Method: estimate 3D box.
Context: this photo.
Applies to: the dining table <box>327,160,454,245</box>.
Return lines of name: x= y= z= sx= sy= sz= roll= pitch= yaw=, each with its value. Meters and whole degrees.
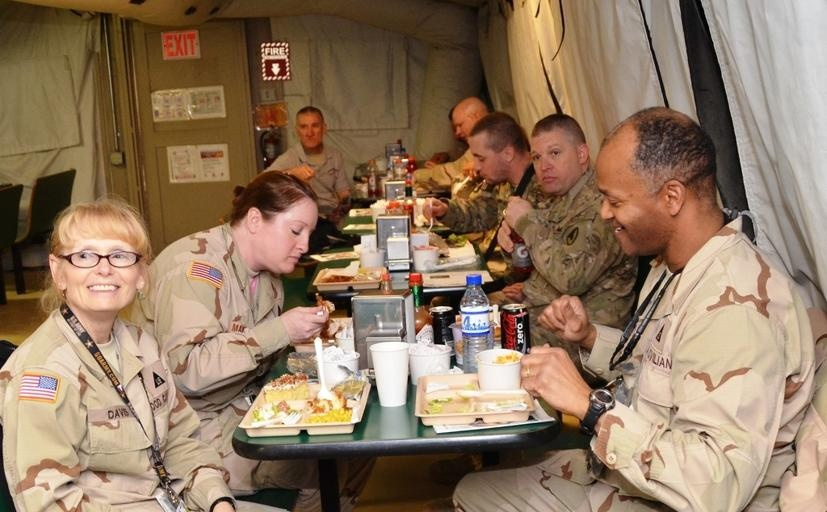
dining table: x=-0.355 y=-0.454 z=5.659 sx=0.843 sy=0.285 sz=1.261 roll=0 pitch=22 yaw=0

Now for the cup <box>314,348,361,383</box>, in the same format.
cup: x=-0.282 y=0.410 z=2.175 sx=0.133 sy=0.098 sz=0.119 roll=-1 pitch=0 yaw=12

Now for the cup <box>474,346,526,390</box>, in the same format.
cup: x=0.307 y=0.412 z=2.104 sx=0.143 sy=0.096 sz=0.146 roll=-1 pitch=-7 yaw=0

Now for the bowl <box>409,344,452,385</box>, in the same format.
bowl: x=0.061 y=0.419 z=2.245 sx=0.156 sy=0.109 sz=0.150 roll=-1 pitch=-5 yaw=0

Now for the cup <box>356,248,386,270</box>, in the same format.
cup: x=-0.268 y=0.019 z=3.672 sx=0.147 sy=0.102 sz=0.125 roll=-1 pitch=2 yaw=-13

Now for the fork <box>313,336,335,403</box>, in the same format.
fork: x=-0.336 y=0.417 z=2.087 sx=0.060 sy=0.289 sz=0.044 roll=-5 pitch=34 yaw=10

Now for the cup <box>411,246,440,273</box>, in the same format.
cup: x=0.070 y=0.010 z=3.663 sx=0.139 sy=0.149 sz=0.173 roll=-1 pitch=-5 yaw=3

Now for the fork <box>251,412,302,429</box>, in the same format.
fork: x=-0.459 y=0.559 z=1.946 sx=0.173 sy=0.028 sz=0.050 roll=-7 pitch=27 yaw=-40

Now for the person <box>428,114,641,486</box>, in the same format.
person: x=0.740 y=0.225 z=3.616 sx=1.374 sy=2.053 sz=0.876 roll=-4 pitch=16 yaw=-1

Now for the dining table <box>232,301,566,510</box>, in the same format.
dining table: x=-0.120 y=0.570 z=2.116 sx=1.096 sy=0.714 sz=0.575 roll=-3 pitch=14 yaw=-6
